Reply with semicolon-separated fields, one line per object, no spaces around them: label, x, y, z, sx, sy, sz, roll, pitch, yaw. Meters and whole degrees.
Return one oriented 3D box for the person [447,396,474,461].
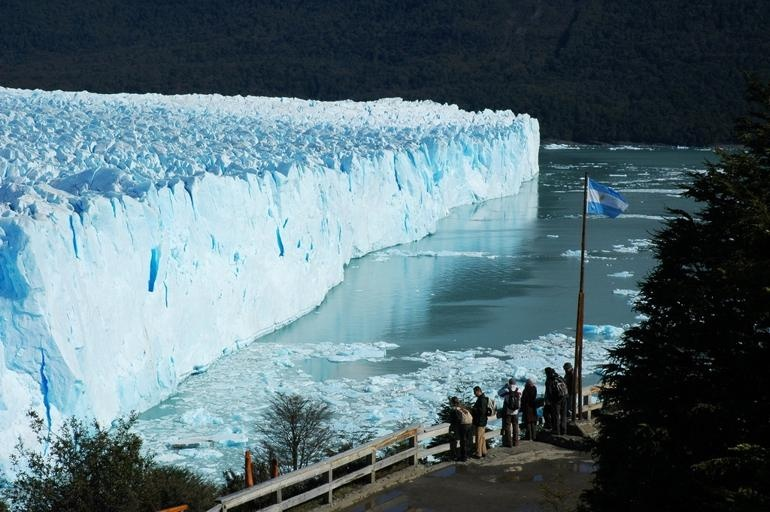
person;1.208;2.746;17.583;0.352;0.956;0.355;-1;6;3

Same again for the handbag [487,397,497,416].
handbag;1.700;2.413;17.659;0.100;0.332;0.334;0;6;11

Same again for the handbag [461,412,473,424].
handbag;1.287;2.567;17.421;0.206;0.175;0.141;-7;5;28

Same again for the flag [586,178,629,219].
flag;3.988;-1.029;20.106;0.844;0.622;0.079;5;-4;-17

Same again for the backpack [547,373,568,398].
backpack;2.832;2.148;18.195;0.392;0.448;0.201;-3;6;-11

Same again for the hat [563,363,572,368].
hat;3.162;1.906;19.198;0.102;0.115;0.118;8;-12;-29

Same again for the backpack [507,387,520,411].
backpack;2.051;2.326;17.972;0.246;0.447;0.226;-1;6;5
